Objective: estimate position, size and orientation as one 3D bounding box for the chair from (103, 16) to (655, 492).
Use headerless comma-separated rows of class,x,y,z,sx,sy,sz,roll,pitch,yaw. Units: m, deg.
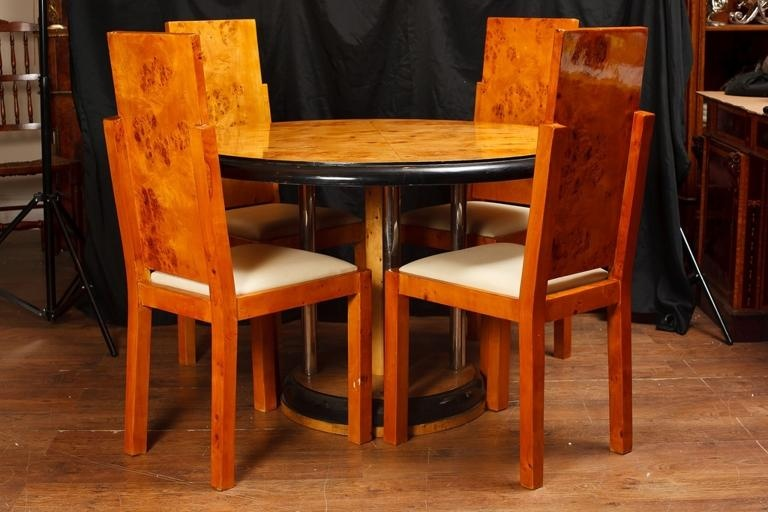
chair,0.001,-0.172,3.061,1.950,1.555,1.702,0,21,1
